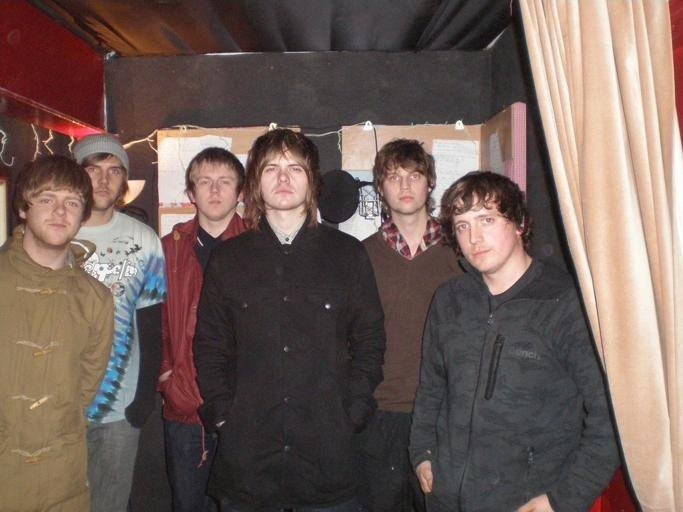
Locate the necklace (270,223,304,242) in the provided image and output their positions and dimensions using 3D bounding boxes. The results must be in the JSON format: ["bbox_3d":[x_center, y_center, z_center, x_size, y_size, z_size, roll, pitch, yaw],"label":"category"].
[{"bbox_3d":[-0.278,-0.110,3.087,0.108,0.064,0.120,-2,6,1],"label":"necklace"}]
